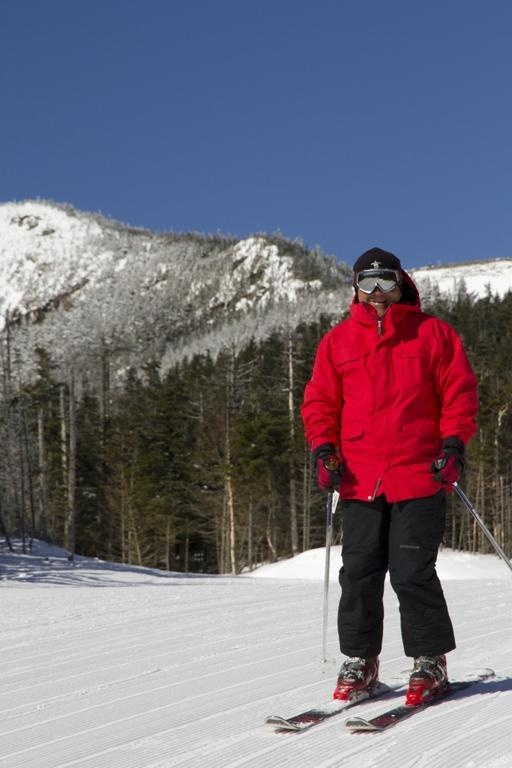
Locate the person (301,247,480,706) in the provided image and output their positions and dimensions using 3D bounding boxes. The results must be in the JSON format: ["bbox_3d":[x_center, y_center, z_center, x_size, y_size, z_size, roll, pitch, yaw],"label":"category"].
[{"bbox_3d":[0.589,0.364,4.262,0.770,1.980,0.410,-3,-4,10],"label":"person"}]

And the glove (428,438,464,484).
[{"bbox_3d":[0.830,0.337,4.147,0.136,0.192,0.083,4,-29,6],"label":"glove"}]

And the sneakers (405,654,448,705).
[{"bbox_3d":[0.729,1.253,4.081,0.100,0.128,0.305,-1,-2,24],"label":"sneakers"}]

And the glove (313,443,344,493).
[{"bbox_3d":[0.315,0.378,4.297,0.151,0.188,0.094,-14,-22,37],"label":"glove"}]
